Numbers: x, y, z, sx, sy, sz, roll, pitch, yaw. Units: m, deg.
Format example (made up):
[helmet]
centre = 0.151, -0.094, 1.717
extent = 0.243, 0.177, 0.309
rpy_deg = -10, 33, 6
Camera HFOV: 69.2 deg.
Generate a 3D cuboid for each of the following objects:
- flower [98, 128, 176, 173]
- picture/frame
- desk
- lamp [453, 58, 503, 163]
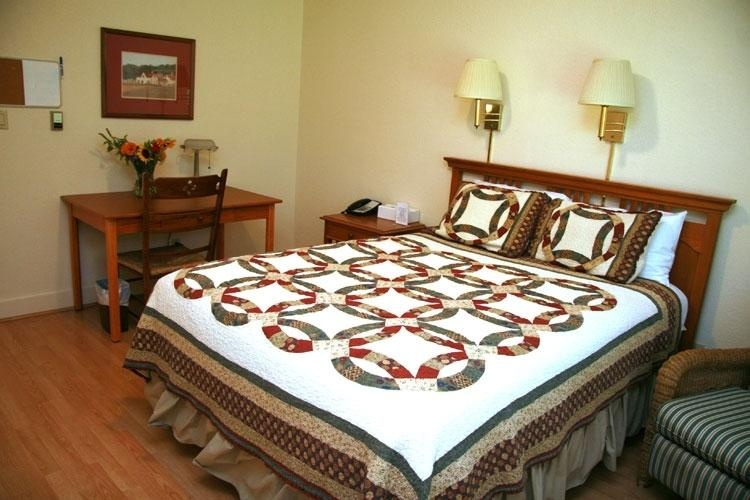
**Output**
[flower]
centre = -1.789, -0.722, 4.175
extent = 0.518, 0.291, 0.426
rpy_deg = -5, 26, -14
[picture/frame]
centre = -1.820, -1.404, 4.267
extent = 0.859, 0.693, 0.035
rpy_deg = -4, 15, -42
[desk]
centre = -1.592, 0.024, 4.331
extent = 1.331, 0.881, 0.868
rpy_deg = -10, 19, -42
[lamp]
centre = 0.770, -1.020, 4.018
extent = 0.294, 0.731, 0.324
rpy_deg = 16, 21, 31
